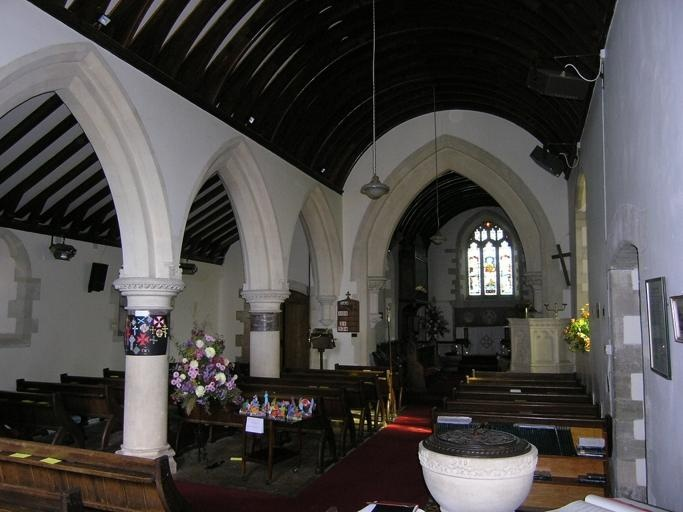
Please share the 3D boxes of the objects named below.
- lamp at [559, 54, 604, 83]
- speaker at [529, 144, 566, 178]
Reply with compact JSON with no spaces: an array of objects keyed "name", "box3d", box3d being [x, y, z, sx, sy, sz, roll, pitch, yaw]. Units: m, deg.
[{"name":"lamp","box3d":[3.092,-2.343,6.901,0.447,0.158,0.459,8,6,41]},{"name":"speaker","box3d":[4.199,-1.938,10.998,0.464,0.289,0.482,19,22,-44]}]
